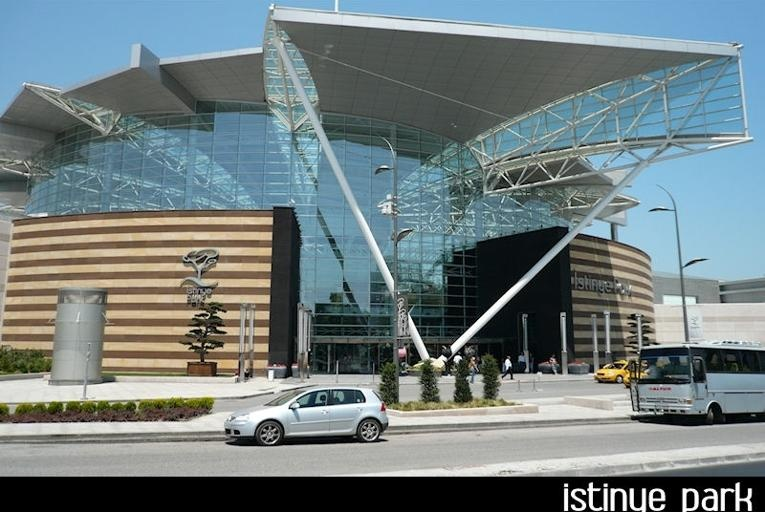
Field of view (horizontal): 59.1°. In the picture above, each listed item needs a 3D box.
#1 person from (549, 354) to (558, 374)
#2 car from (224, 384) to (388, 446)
[{"bbox_3d":[14.197,8.969,55.635,0.663,1.420,1.544,-4,-12,13],"label":"person"},{"bbox_3d":[-3.159,6.369,27.205,6.081,1.531,2.495,3,-10,-12],"label":"car"}]
